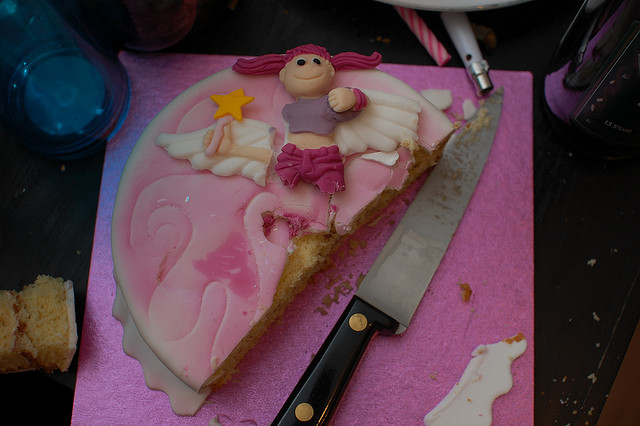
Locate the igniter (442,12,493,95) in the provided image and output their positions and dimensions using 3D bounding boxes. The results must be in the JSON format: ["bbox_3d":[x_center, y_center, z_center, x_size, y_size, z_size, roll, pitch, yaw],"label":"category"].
[{"bbox_3d":[0.554,-0.617,2.154,0.096,0.102,0.437,-20,84,8],"label":"igniter"}]
